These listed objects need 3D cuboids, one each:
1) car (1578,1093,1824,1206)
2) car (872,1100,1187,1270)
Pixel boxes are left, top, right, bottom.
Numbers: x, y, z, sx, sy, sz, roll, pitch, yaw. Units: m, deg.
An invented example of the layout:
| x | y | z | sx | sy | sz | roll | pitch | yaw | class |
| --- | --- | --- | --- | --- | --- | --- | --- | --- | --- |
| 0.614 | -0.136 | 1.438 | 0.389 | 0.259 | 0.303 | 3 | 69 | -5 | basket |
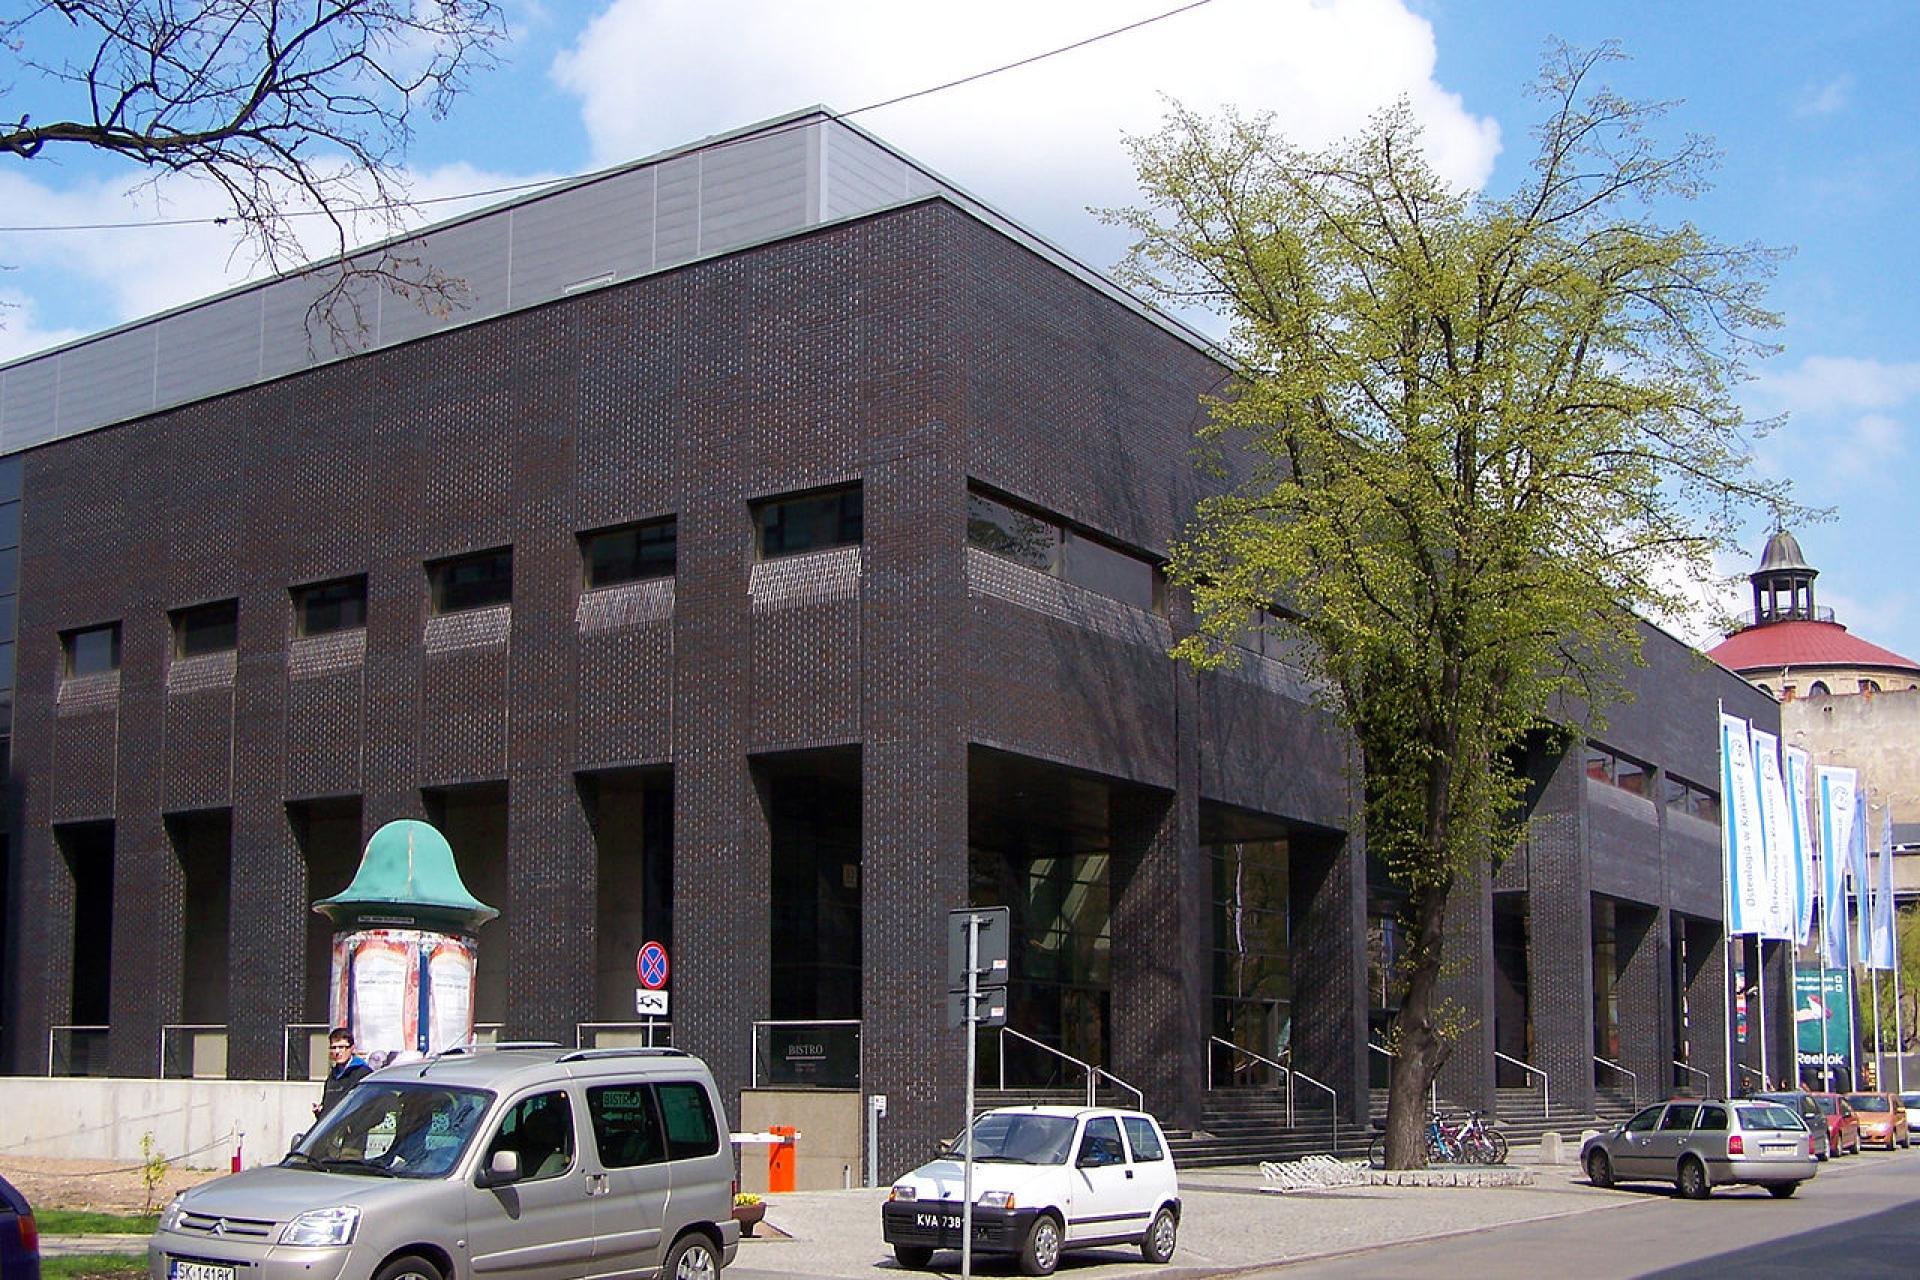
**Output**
| x | y | z | sx | sy | sz | roll | pitch | yaw | class |
| --- | --- | --- | --- | --- | --- | --- | --- | --- | --- |
| 16.345 | 11.318 | 47.049 | 2.296 | 1.698 | 4.711 | 10 | -13 | -34 | car |
| 1.416 | 8.769 | 33.623 | 2.443 | 1.972 | 4.120 | -13 | -23 | 38 | car |
